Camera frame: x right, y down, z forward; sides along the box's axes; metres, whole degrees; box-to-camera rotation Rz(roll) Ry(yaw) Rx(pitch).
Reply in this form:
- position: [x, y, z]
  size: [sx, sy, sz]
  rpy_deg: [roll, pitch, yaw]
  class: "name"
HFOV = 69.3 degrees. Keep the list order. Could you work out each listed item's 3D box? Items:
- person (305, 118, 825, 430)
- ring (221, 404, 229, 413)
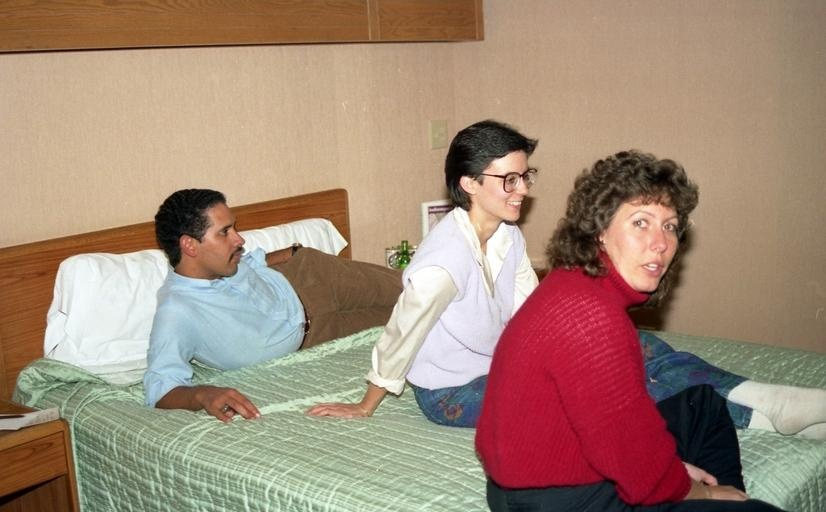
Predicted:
- position: [0.573, 0.085, 2.505]
  size: [1.888, 1.090, 1.134]
  rpy_deg: [8, 32, 23]
  class: "person"
- position: [-0.787, 0.643, 2.532]
  size: [0.025, 0.030, 0.030]
  rpy_deg: [-3, 13, -3]
  class: "ring"
